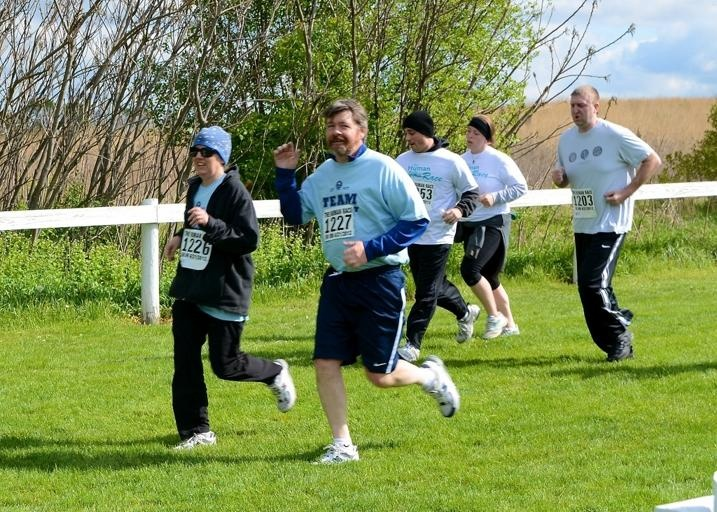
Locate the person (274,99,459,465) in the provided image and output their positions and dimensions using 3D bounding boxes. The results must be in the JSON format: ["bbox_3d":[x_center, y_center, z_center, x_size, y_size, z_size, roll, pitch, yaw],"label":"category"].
[{"bbox_3d":[0.041,0.182,9.684,1.554,3.049,0.978,-1,13,6],"label":"person"}]

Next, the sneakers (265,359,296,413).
[{"bbox_3d":[-0.747,1.236,10.385,0.244,0.537,0.188,-9,-3,-40],"label":"sneakers"}]

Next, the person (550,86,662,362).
[{"bbox_3d":[2.582,-0.351,11.698,1.006,2.821,0.617,10,18,44],"label":"person"}]

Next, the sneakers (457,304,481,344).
[{"bbox_3d":[1.300,0.794,12.899,0.233,0.521,0.180,24,-14,-29],"label":"sneakers"}]

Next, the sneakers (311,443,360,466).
[{"bbox_3d":[-0.178,1.710,9.531,0.488,0.194,0.159,-1,-5,-8],"label":"sneakers"}]

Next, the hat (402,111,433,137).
[{"bbox_3d":[0.690,-1.402,11.895,0.294,0.245,0.294,21,-10,33],"label":"hat"}]

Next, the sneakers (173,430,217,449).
[{"bbox_3d":[-1.492,1.657,10.008,0.425,0.170,0.138,-2,-3,-14],"label":"sneakers"}]

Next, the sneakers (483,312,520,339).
[{"bbox_3d":[1.683,0.829,12.978,0.191,0.233,0.577,-7,-4,42],"label":"sneakers"}]

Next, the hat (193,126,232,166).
[{"bbox_3d":[-1.328,-1.058,10.159,0.338,0.318,0.358,17,-6,5],"label":"hat"}]
